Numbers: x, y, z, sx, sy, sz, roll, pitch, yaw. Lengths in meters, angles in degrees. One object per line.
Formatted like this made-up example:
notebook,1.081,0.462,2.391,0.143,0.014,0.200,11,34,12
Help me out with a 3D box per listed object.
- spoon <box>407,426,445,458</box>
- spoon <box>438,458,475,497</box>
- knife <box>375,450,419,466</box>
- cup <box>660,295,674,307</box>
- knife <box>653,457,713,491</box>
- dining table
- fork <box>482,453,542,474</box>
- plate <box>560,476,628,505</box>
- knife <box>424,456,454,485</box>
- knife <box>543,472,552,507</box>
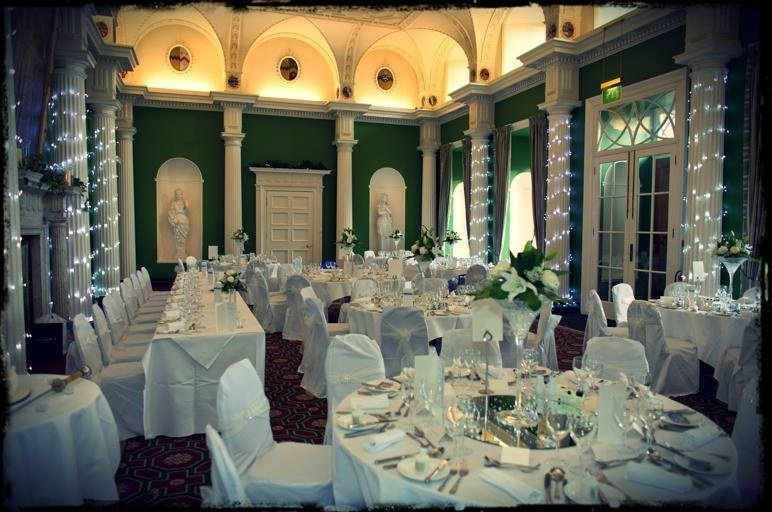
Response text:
spoon,0.292,1.384,4.165,0.105,0.049,0.326,-5,10,-19
spoon,0.479,1.541,3.879,0.103,0.044,0.299,6,34,29
knife,0.081,1.452,4.011,0.327,0.029,0.051,-5,23,-5
cup,3.863,0.624,7.688,0.135,0.113,0.140,2,-1,0
knife,2.060,1.503,3.937,0.124,0.067,0.456,-14,14,-27
dining table,-2.756,1.511,4.642,0.962,0.548,0.936,0,1,23
fork,0.897,1.482,3.968,0.394,0.085,0.071,-1,0,5
plate,1.409,1.607,3.781,0.221,0.034,0.229,-1,18,-7
knife,0.370,1.505,3.914,0.071,0.026,0.299,9,21,21
knife,1.115,1.595,3.839,0.050,0.145,0.168,0,-1,16
